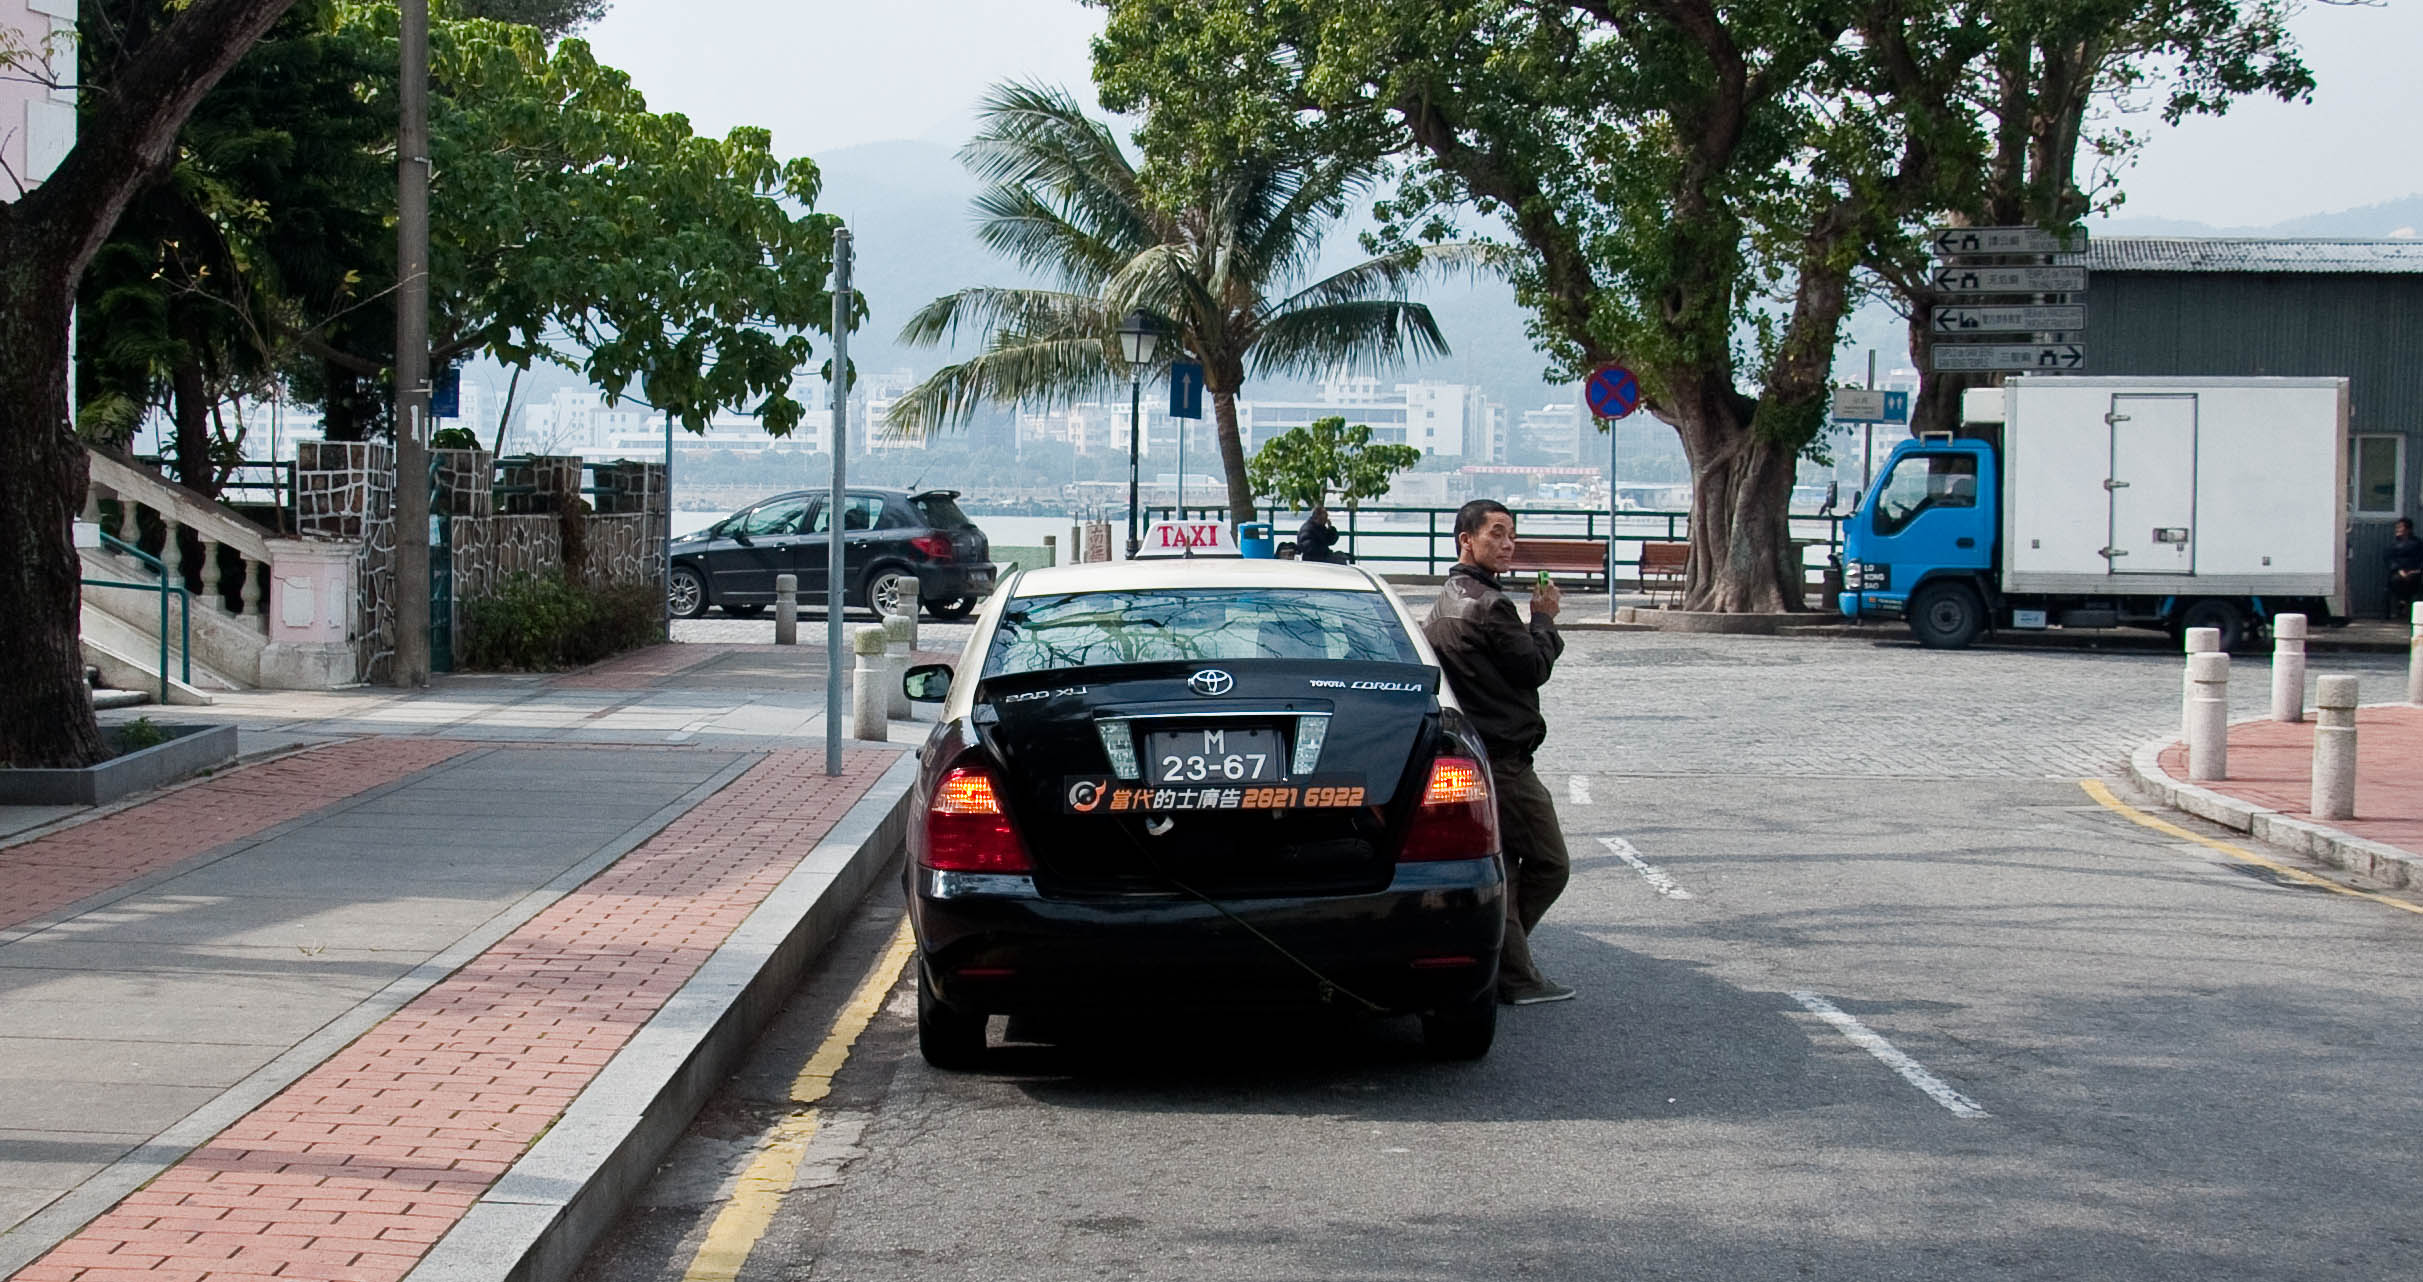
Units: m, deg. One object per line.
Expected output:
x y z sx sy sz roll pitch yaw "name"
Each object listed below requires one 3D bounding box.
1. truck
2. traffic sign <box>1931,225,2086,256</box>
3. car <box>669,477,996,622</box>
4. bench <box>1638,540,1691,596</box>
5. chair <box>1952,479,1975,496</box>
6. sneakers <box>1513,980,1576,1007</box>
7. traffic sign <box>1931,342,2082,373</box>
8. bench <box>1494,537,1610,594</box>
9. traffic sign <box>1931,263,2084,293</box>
13.658 -1.963 35.400 6.700 4.051 1.316 0 4 5 "truck"
12.966 -6.503 37.830 2.153 0.452 0.460 0 4 2 "traffic sign"
-6.581 -1.529 38.533 5.411 1.760 2.364 2 3 12 "car"
9.331 -1.596 48.300 1.615 1.330 1.142 0 -1 2 "bench"
11.579 -2.366 35.806 0.380 0.231 0.240 2 -7 10 "chair"
2.440 2.578 17.166 0.543 0.172 0.172 -1 2 -13 "sneakers"
12.920 -4.633 37.774 2.160 0.505 0.493 1 4 20 "traffic sign"
6.210 -1.407 42.208 2.455 1.167 0.842 0 8 1 "bench"
12.897 -5.851 37.636 2.117 0.396 0.257 1 4 15 "traffic sign"
